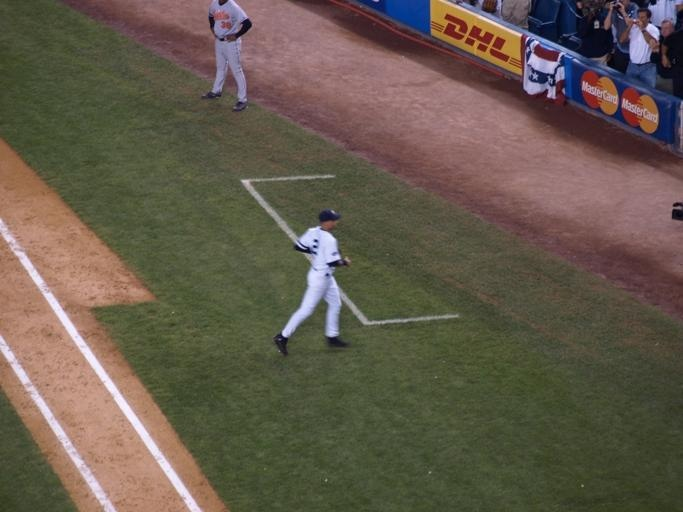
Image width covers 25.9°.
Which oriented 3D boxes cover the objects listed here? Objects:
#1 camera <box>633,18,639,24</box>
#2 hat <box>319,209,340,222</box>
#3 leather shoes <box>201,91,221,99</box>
[{"bbox_3d":[5.850,-4.691,29.557,0.148,0.060,0.192,2,16,3],"label":"camera"},{"bbox_3d":[-0.201,-0.659,24.660,0.308,0.145,0.197,-4,27,-6],"label":"hat"},{"bbox_3d":[-2.679,-3.296,30.524,0.411,0.156,0.136,-1,51,-6],"label":"leather shoes"}]
